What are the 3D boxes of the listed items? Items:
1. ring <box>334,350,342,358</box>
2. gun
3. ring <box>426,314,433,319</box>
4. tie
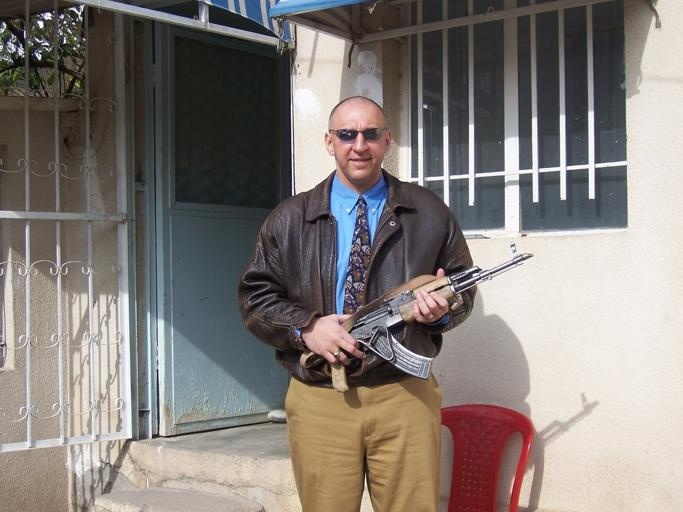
[{"bbox_3d":[-0.025,0.509,3.667,0.039,0.044,0.013,3,-2,2],"label":"ring"},{"bbox_3d":[0.450,0.375,4.038,1.436,0.734,0.220,-26,-12,6],"label":"gun"},{"bbox_3d":[0.452,0.318,3.633,0.027,0.029,0.039,2,3,8],"label":"ring"},{"bbox_3d":[0.077,0.023,3.824,0.141,0.558,0.216,3,7,0],"label":"tie"}]
